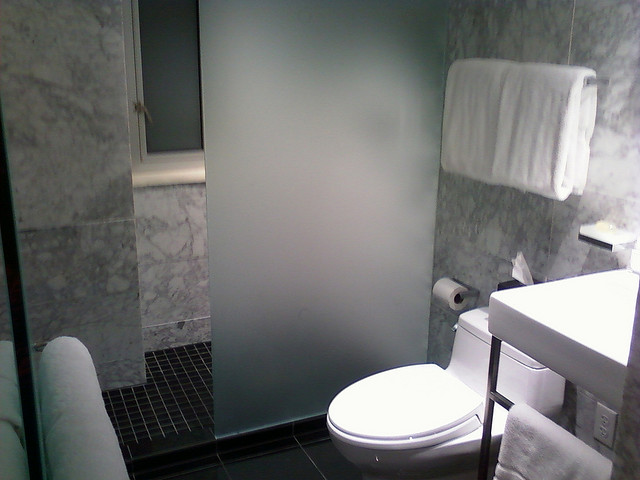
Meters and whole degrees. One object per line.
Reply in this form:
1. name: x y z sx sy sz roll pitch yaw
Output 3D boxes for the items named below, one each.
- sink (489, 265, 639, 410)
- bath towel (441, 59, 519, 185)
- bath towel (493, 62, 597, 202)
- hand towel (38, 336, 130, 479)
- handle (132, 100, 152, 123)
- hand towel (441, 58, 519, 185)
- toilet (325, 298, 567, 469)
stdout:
1. sink: 0.914 0.265 1.653 0.515 0.192 0.514 -13 19 -21
2. bath towel: 0.733 -0.541 2.317 0.060 0.581 0.520 -4 16 -23
3. bath towel: 0.879 -0.433 2.007 0.167 0.481 0.458 -12 24 -35
4. hand towel: -0.514 0.353 1.069 0.121 0.111 0.488 -15 20 -27
5. handle: -0.922 -0.674 2.652 0.084 0.147 0.068 -3 -6 9
6. hand towel: 0.703 -0.563 2.381 0.113 0.496 0.480 -5 19 -24
7. toilet: 0.519 0.775 2.283 0.976 0.702 0.670 -8 9 -6
